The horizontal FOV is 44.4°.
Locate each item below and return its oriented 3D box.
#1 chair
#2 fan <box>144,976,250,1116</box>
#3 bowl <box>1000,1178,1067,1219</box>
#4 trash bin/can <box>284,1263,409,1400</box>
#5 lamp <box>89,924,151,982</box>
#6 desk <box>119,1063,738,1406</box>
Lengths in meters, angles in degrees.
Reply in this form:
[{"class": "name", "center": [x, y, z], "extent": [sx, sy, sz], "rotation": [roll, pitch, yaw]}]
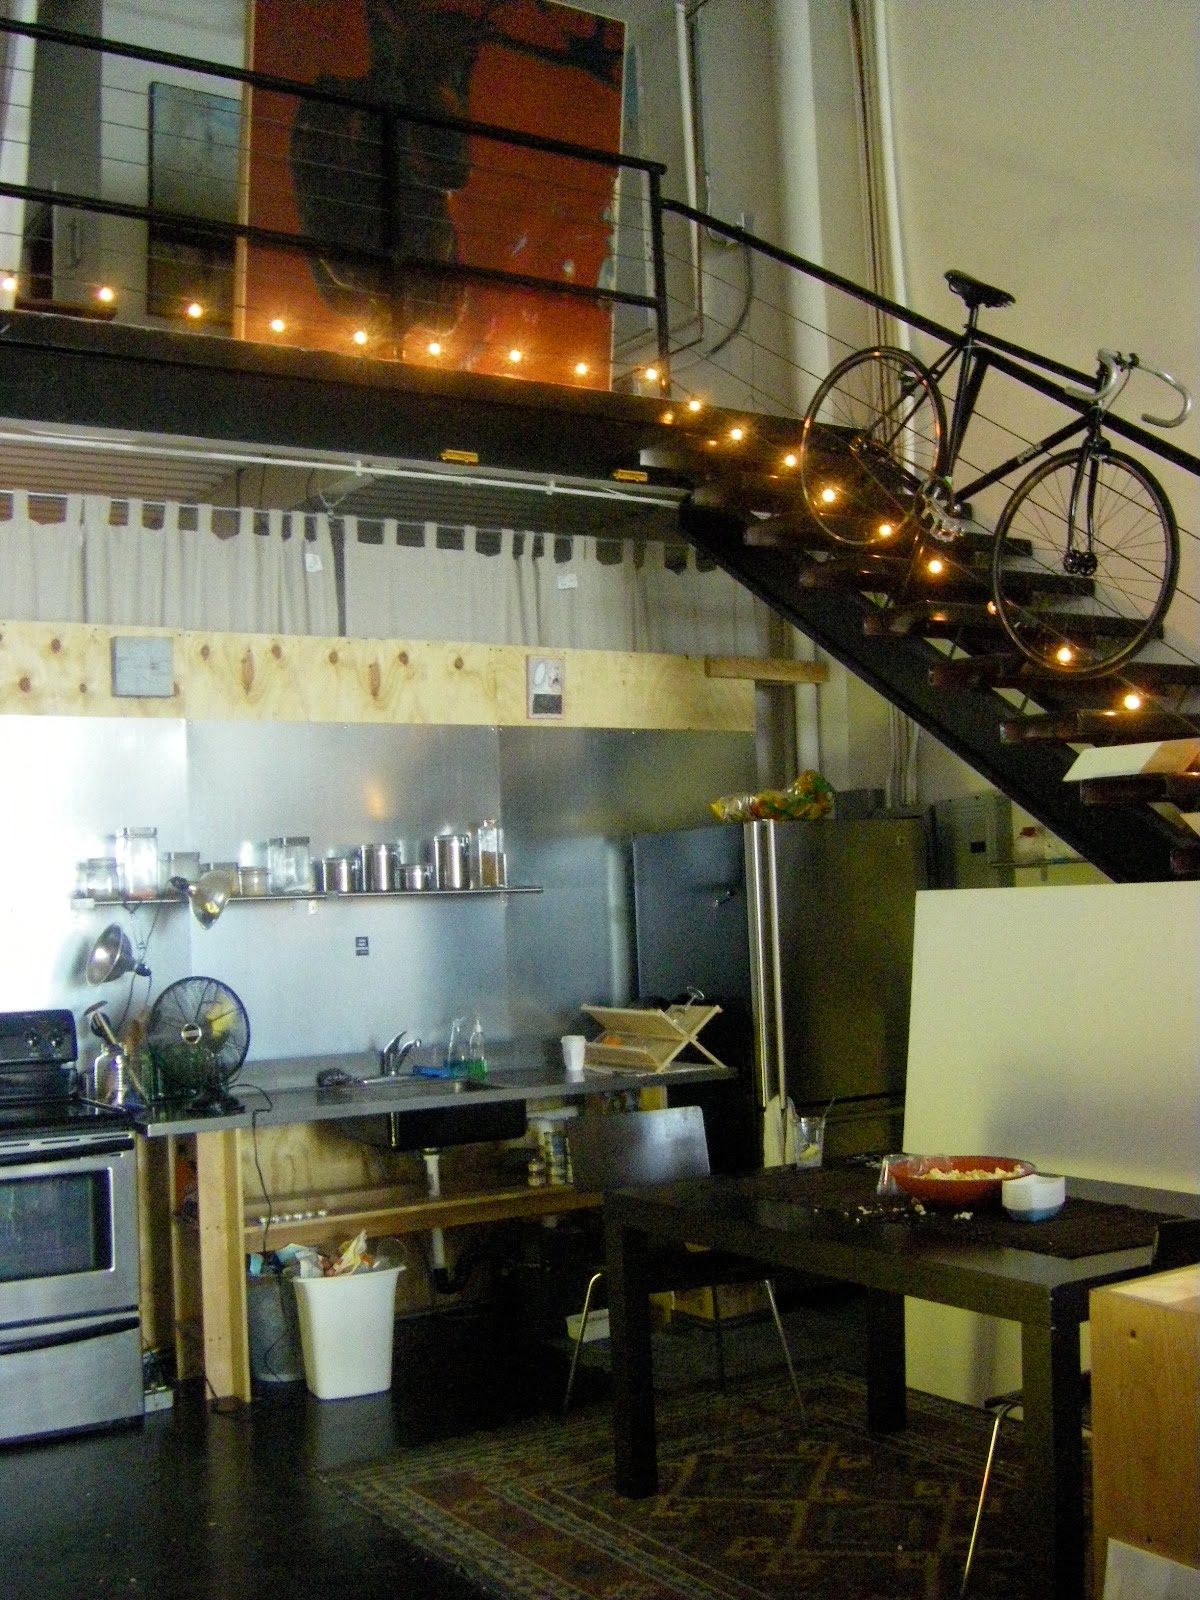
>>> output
[{"class": "chair", "center": [0.222, 1.264, 4.102], "extent": [0.484, 0.693, 0.532], "rotation": [-2, 0, -33]}, {"class": "fan", "center": [-1.344, 0.828, 5.012], "extent": [0.374, 0.447, 0.270], "rotation": [-5, -5, 6]}, {"class": "bowl", "center": [0.896, 0.811, 3.044], "extent": [0.096, 0.069, 0.102], "rotation": [-2, -4, 0]}, {"class": "trash bin/can", "center": [-0.800, 1.691, 4.767], "extent": [0.402, 0.353, 0.384], "rotation": [4, -10, -31]}, {"class": "lamp", "center": [-1.677, 0.537, 5.122], "extent": [0.186, 0.188, 0.198], "rotation": [-1, -25, 47]}, {"class": "desk", "center": [-0.648, 1.531, 5.302], "extent": [2.102, 0.813, 0.606], "rotation": [3, -19, -35]}]
